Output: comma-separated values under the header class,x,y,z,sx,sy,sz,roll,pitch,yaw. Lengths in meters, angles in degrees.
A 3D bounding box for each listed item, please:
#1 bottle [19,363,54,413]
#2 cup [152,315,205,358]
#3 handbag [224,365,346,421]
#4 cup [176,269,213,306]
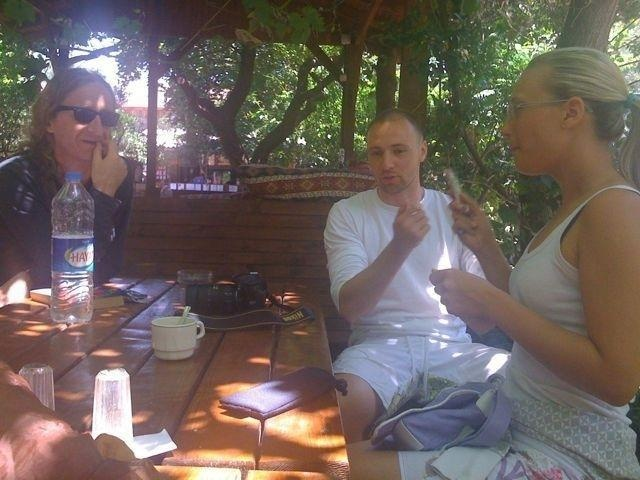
class,x,y,z,sx,sy,sz,roll,pitch,yaw
bottle,-0.786,0.416,1.421,0.086,0.136,0.089,-3,-2,0
cup,-0.517,0.361,1.879,0.199,0.133,0.158,-1,5,-36
handbag,-0.110,0.438,1.569,0.236,0.067,0.146,-4,8,-44
cup,-0.686,0.252,2.791,0.176,0.148,0.173,1,5,0
